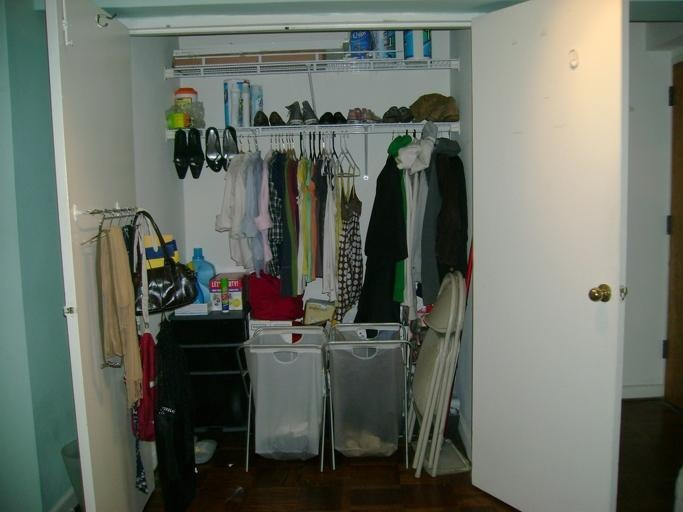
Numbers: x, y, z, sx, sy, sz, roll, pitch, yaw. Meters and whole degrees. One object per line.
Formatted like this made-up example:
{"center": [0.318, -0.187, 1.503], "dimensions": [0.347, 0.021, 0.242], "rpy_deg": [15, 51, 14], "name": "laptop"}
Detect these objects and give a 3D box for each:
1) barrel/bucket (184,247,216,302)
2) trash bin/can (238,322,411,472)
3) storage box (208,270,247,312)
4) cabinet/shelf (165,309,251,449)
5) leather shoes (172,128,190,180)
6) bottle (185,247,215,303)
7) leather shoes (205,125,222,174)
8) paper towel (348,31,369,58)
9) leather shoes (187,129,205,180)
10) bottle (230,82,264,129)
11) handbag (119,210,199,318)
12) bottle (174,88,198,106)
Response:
{"center": [-1.064, 0.170, 4.680], "dimensions": [0.224, 0.441, 0.235], "rpy_deg": [-7, -6, -1], "name": "barrel/bucket"}
{"center": [-0.092, 0.698, 4.233], "dimensions": [1.106, 1.070, 0.812], "rpy_deg": [0, -2, 0], "name": "trash bin/can"}
{"center": [-0.814, 0.270, 4.467], "dimensions": [0.260, 0.214, 0.219], "rpy_deg": [-2, 3, -3], "name": "storage box"}
{"center": [-0.959, 0.858, 4.351], "dimensions": [0.499, 0.760, 0.410], "rpy_deg": [4, -16, -38], "name": "cabinet/shelf"}
{"center": [-1.119, -0.714, 4.327], "dimensions": [0.100, 0.328, 0.088], "rpy_deg": [-1, 20, -3], "name": "leather shoes"}
{"center": [-1.054, 0.153, 4.711], "dimensions": [0.200, 0.417, 0.216], "rpy_deg": [-7, 15, 2], "name": "bottle"}
{"center": [-0.910, -0.754, 4.389], "dimensions": [0.112, 0.296, 0.047], "rpy_deg": [-1, 17, -7], "name": "leather shoes"}
{"center": [0.118, -1.440, 4.201], "dimensions": [0.162, 0.251, 0.031], "rpy_deg": [4, 15, 13], "name": "paper towel"}
{"center": [-1.020, -0.716, 4.361], "dimensions": [0.100, 0.331, 0.082], "rpy_deg": [-3, 23, -8], "name": "leather shoes"}
{"center": [-0.683, -1.061, 4.395], "dimensions": [0.285, 0.433, 0.155], "rpy_deg": [-3, 10, -34], "name": "bottle"}
{"center": [-1.044, 0.079, 3.507], "dimensions": [0.223, 0.609, 0.397], "rpy_deg": [-21, -10, 41], "name": "handbag"}
{"center": [-1.110, -1.130, 4.371], "dimensions": [0.121, 0.133, 0.133], "rpy_deg": [2, 14, -3], "name": "bottle"}
